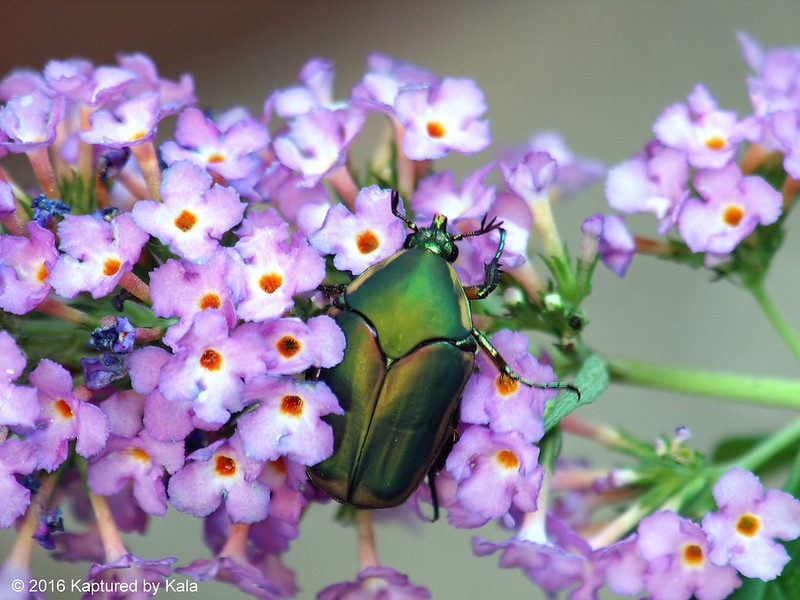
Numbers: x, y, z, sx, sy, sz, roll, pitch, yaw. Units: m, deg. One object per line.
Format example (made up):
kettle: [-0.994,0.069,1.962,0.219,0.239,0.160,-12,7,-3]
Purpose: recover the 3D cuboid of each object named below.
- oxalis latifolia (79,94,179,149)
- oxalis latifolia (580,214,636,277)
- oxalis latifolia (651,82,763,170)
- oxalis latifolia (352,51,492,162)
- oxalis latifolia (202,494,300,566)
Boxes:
oxalis latifolia: [-0.614,-0.404,1.953,0.189,0.146,0.139,15,5,13]
oxalis latifolia: [0.475,-0.129,1.996,0.138,0.133,0.067,12,4,-11]
oxalis latifolia: [0.716,-0.399,2.010,0.207,0.202,0.200,17,6,40]
oxalis latifolia: [0.018,-0.478,2.152,0.325,0.215,0.526,12,5,-18]
oxalis latifolia: [-0.379,0.600,2.222,0.241,0.072,0.251,-9,-36,47]
